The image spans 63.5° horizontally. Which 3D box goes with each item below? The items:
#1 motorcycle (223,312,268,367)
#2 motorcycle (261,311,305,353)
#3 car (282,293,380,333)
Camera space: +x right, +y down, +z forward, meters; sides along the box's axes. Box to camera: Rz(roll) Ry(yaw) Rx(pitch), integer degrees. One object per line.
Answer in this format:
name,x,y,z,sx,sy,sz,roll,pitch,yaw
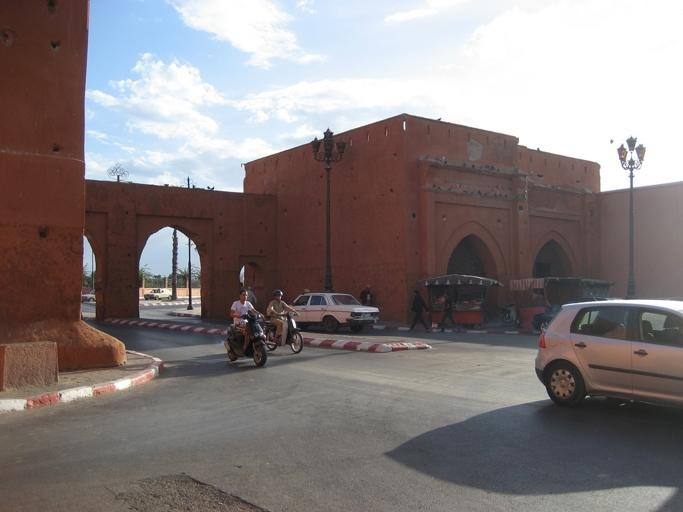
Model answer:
motorcycle,-2.330,2.088,13.884,0.542,1.325,1.573,3,-6,-43
motorcycle,-1.788,2.224,16.280,1.752,1.286,0.748,-9,-9,44
car,-0.375,2.373,24.031,1.687,1.467,3.678,3,-1,-44
